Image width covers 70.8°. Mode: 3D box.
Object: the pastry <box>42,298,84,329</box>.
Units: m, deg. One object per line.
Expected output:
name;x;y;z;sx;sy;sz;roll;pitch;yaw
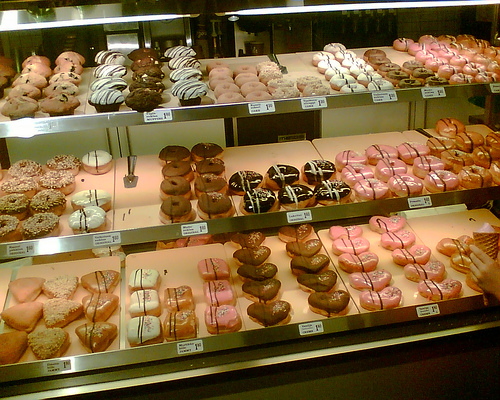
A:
pastry;-0.908;0.539;1.706;0.167;0.078;0.174;-24;30;-37

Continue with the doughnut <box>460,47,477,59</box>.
doughnut;1.211;-0.825;1.965;0.090;0.028;0.084;2;37;8

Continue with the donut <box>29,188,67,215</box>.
donut;-0.948;0.005;1.658;0.136;0.050;0.138;1;40;1

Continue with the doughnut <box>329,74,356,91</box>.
doughnut;0.424;-0.561;1.655;0.097;0.035;0.089;-3;37;-3

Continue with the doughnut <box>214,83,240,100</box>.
doughnut;-0.106;-0.480;1.563;0.099;0.036;0.093;2;37;4

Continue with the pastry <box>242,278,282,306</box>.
pastry;0.071;0.456;1.797;0.203;0.059;0.197;-10;18;-33

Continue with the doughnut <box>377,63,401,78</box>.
doughnut;0.697;-0.669;1.787;0.109;0.039;0.102;0;37;3

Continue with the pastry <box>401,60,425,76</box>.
pastry;0.831;-0.692;1.821;0.116;0.066;0.108;3;35;5

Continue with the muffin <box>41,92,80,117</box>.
muffin;-0.754;-0.376;1.396;0.123;0.072;0.116;-18;41;-25

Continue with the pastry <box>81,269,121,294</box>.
pastry;-0.801;0.432;1.854;0.174;0.055;0.166;-4;35;-13

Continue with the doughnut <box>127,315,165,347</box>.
doughnut;-0.473;0.580;1.580;0.137;0.057;0.127;-5;32;-14

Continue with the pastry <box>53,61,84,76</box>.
pastry;-0.896;-0.649;1.730;0.100;0.047;0.095;7;24;13

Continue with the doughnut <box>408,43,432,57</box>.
doughnut;0.976;-0.881;2.029;0.115;0.040;0.110;-16;25;-26

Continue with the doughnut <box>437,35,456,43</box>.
doughnut;1.193;-0.982;2.148;0.093;0.030;0.087;1;25;3

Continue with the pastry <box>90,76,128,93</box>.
pastry;-0.592;-0.493;1.500;0.117;0.054;0.109;-4;16;3

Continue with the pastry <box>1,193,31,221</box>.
pastry;-1.095;0.020;1.670;0.129;0.047;0.123;2;35;-2

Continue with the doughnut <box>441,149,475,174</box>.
doughnut;1.106;-0.217;1.898;0.150;0.054;0.137;-4;36;-5

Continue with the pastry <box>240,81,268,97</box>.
pastry;0.014;-0.500;1.595;0.107;0.038;0.100;0;34;5

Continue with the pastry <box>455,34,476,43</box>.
pastry;1.308;-0.996;2.171;0.105;0.035;0.098;-3;23;2

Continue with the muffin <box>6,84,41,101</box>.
muffin;-0.954;-0.463;1.491;0.103;0.055;0.099;-16;33;-31

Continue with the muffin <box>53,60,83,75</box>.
muffin;-0.891;-0.653;1.741;0.116;0.054;0.110;-2;21;-3

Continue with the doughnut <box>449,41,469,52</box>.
doughnut;1.227;-0.912;2.081;0.111;0.034;0.104;-4;27;-2

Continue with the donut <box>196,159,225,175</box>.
donut;-0.210;-0.180;1.880;0.103;0.028;0.097;-9;28;-15

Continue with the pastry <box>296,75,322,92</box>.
pastry;0.261;-0.519;1.583;0.119;0.039;0.110;-2;32;7

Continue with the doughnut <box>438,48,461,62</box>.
doughnut;1.093;-0.811;1.945;0.104;0.032;0.097;1;37;8

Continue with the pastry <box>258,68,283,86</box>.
pastry;0.095;-0.590;1.696;0.114;0.038;0.107;1;37;5

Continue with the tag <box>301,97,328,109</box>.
tag;0.258;-0.397;1.441;0.072;0.015;0.062;-1;33;0

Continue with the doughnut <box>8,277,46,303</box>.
doughnut;-1.128;0.458;1.802;0.156;0.079;0.159;-17;27;-28

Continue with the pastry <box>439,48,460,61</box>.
pastry;1.095;-0.817;1.951;0.106;0.033;0.099;2;40;8

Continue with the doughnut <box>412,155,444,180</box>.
doughnut;0.933;-0.185;1.868;0.135;0.079;0.126;-2;30;-1

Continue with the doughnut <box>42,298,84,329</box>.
doughnut;-0.902;0.527;1.675;0.146;0.041;0.129;10;27;13

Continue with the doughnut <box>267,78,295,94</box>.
doughnut;0.133;-0.514;1.594;0.106;0.038;0.107;2;29;10

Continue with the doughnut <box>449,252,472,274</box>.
doughnut;1.114;0.331;1.877;0.117;0.032;0.109;2;35;6

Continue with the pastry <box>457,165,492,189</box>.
pastry;1.106;-0.127;1.749;0.127;0.057;0.117;-2;34;2

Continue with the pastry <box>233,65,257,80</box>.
pastry;-0.028;-0.647;1.791;0.107;0.039;0.100;-1;34;3

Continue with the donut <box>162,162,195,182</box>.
donut;-0.376;-0.166;1.858;0.131;0.063;0.125;-1;17;0

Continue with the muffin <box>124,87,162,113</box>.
muffin;-0.417;-0.388;1.389;0.117;0.066;0.119;1;38;11

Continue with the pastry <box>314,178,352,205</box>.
pastry;0.393;-0.052;1.706;0.133;0.050;0.129;2;34;11

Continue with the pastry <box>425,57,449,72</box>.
pastry;0.974;-0.733;1.871;0.115;0.038;0.107;-4;33;2

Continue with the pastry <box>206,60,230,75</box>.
pastry;-0.170;-0.682;1.823;0.112;0.040;0.104;-1;31;0

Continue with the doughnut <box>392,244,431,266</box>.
doughnut;0.867;0.278;1.904;0.133;0.043;0.129;-21;28;-30

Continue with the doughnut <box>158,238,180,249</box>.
doughnut;-0.460;0.243;1.989;0.099;0.039;0.117;-2;25;3

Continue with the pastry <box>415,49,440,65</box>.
pastry;0.955;-0.797;1.928;0.130;0.044;0.122;-3;30;0

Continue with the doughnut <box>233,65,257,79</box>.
doughnut;-0.028;-0.647;1.791;0.098;0.036;0.091;-3;34;2

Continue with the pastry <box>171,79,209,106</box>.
pastry;-0.258;-0.453;1.498;0.134;0.083;0.126;-2;18;-1

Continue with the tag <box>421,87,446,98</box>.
tag;0.784;-0.461;1.513;0.114;0.040;0.028;-9;25;-12

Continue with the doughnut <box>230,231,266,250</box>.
doughnut;-0.007;0.230;2.044;0.119;0.031;0.116;-12;25;-26

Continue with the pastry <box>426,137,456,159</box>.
pastry;1.102;-0.325;2.055;0.147;0.049;0.136;1;34;9

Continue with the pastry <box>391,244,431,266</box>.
pastry;0.867;0.272;1.909;0.137;0.044;0.132;-23;27;-34

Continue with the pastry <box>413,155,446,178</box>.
pastry;0.927;-0.185;1.855;0.136;0.061;0.126;-2;31;-1

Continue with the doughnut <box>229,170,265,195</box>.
doughnut;-0.018;-0.085;1.797;0.146;0.043;0.121;-5;37;-2

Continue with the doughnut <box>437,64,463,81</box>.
doughnut;0.999;-0.651;1.776;0.108;0.052;0.095;-4;36;5

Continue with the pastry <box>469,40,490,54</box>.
pastry;1.306;-0.875;2.021;0.117;0.036;0.109;-8;38;-3

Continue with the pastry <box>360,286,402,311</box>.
pastry;0.640;0.483;1.737;0.205;0.063;0.107;-10;25;-13

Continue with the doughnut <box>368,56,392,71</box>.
doughnut;0.684;-0.735;1.873;0.116;0.042;0.107;-4;42;-2

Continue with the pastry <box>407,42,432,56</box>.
pastry;0.966;-0.876;2.020;0.110;0.040;0.102;-10;26;-15

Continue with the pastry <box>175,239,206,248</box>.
pastry;-0.357;0.253;2.104;0.173;0.034;0.041;-3;24;2

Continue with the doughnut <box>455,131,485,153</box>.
doughnut;1.264;-0.352;2.065;0.148;0.067;0.136;-10;39;-4
